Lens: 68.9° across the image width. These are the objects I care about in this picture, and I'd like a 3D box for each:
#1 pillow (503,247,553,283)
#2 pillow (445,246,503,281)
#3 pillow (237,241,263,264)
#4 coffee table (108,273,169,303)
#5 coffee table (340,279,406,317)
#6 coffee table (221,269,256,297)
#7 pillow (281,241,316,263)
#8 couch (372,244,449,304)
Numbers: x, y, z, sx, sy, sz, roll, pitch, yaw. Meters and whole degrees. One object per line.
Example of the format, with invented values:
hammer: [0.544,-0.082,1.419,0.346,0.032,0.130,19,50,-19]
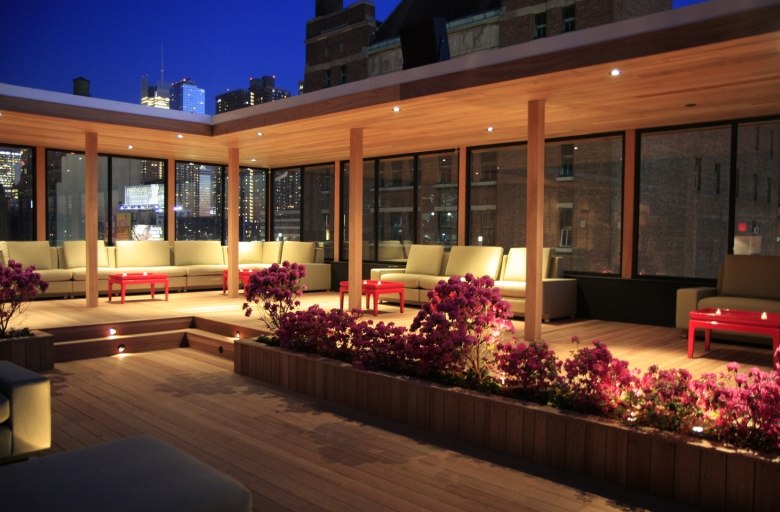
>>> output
pillow: [2.410,0.058,10.035,0.819,0.787,0.456,3,-11,14]
pillow: [1.612,0.112,10.529,1.065,0.749,0.597,2,-4,37]
pillow: [-3.314,-0.081,13.565,0.498,0.469,0.485,-1,1,-33]
coffee table: [-4.591,0.470,10.474,0.845,0.447,0.810,-1,1,-34]
coffee table: [-0.284,0.627,9.913,1.070,0.669,0.842,2,3,41]
coffee table: [-2.761,0.477,10.367,0.528,0.397,0.518,4,-5,-36]
pillow: [-2.131,-0.092,13.173,0.528,0.784,0.638,-1,-5,34]
couch: [0.522,0.333,11.000,1.348,1.079,1.421,-2,3,-39]
